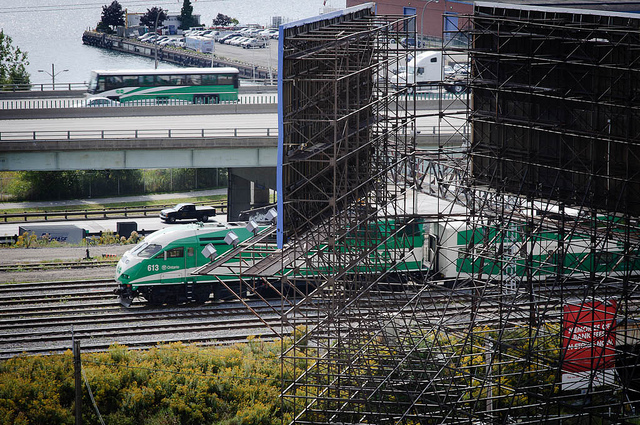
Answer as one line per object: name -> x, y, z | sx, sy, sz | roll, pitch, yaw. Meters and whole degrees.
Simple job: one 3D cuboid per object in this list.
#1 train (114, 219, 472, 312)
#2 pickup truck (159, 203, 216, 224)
train -> -1.539, 2.823, 85.083 | 21.363, 4.162, 2.997 | -3, 6, -1
pickup truck -> -9.402, 0.159, 101.355 | 3.117, 1.044, 1.667 | -1, 4, -17
